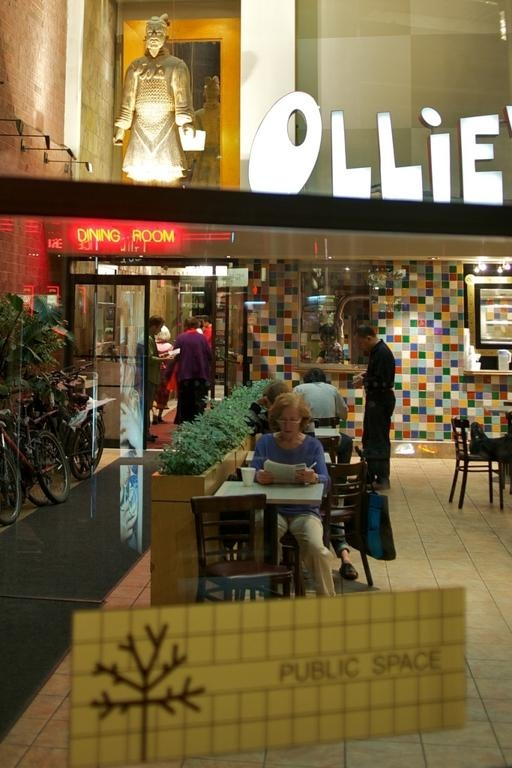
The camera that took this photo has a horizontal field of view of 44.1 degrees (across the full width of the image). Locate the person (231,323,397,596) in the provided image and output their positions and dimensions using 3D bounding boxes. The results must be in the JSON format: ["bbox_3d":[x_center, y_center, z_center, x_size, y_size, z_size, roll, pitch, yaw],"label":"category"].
[{"bbox_3d":[0.380,0.334,4.333,1.100,2.286,0.805,2,-3,-2],"label":"person"}]

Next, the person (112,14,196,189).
[{"bbox_3d":[-0.401,-1.039,2.475,0.262,0.871,0.160,-2,-14,2],"label":"person"}]

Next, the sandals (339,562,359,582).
[{"bbox_3d":[0.335,0.677,2.296,0.048,0.068,0.157,-1,-12,2],"label":"sandals"}]

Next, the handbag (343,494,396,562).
[{"bbox_3d":[0.551,0.712,3.132,0.126,0.391,0.345,-5,1,-26],"label":"handbag"}]

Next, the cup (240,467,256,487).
[{"bbox_3d":[-0.033,0.408,2.770,0.066,0.082,0.070,0,0,0],"label":"cup"}]
